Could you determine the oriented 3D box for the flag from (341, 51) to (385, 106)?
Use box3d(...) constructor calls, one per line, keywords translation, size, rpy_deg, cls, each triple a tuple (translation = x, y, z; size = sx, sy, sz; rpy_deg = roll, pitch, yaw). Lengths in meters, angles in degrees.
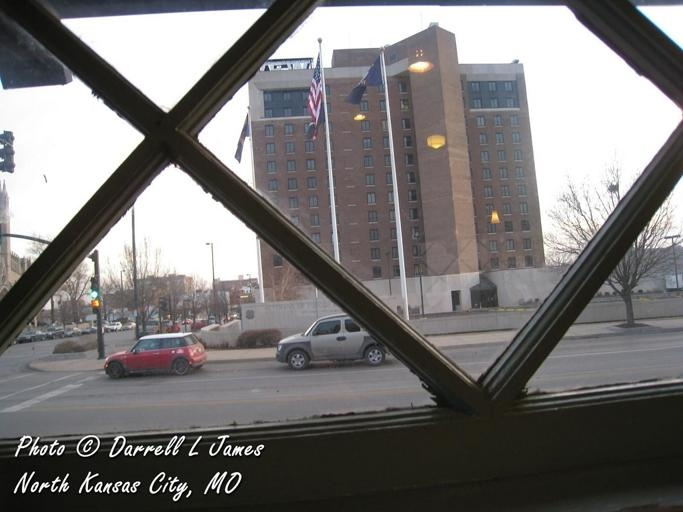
box3d(translation=(0.322, -2.415, 9.655), size=(0.504, 0.603, 1.534), rpy_deg=(-1, 5, 1), cls="flag")
